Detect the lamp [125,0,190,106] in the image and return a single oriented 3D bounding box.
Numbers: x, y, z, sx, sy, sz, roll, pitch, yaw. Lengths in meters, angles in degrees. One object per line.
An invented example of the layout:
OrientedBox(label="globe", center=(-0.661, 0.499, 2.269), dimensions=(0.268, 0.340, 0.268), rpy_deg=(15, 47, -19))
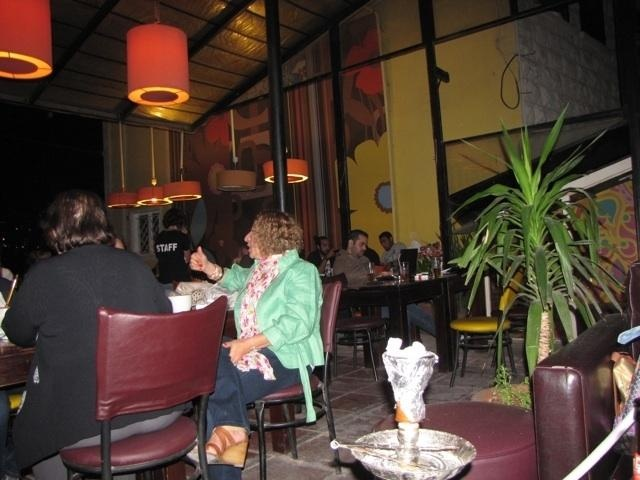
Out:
OrientedBox(label="lamp", center=(-1.297, -1.482, 4.340), dimensions=(0.469, 0.643, 0.449), rpy_deg=(-2, -1, -20))

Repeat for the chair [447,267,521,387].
OrientedBox(label="chair", center=(1.390, 0.732, 4.608), dimensions=(0.505, 0.968, 0.445), rpy_deg=(1, -1, 24))

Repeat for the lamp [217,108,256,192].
OrientedBox(label="lamp", center=(-1.411, -1.663, 9.272), dimensions=(0.667, 1.290, 2.998), rpy_deg=(-2, -1, -8))

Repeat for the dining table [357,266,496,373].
OrientedBox(label="dining table", center=(0.887, 0.599, 5.124), dimensions=(0.930, 0.648, 0.961), rpy_deg=(1, 9, 32))

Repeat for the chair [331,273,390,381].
OrientedBox(label="chair", center=(0.337, 0.853, 5.254), dimensions=(0.510, 0.887, 0.500), rpy_deg=(-1, 6, 22))

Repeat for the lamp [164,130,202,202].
OrientedBox(label="lamp", center=(-2.136, -1.134, 8.375), dimensions=(0.648, 0.996, 0.663), rpy_deg=(2, -12, -36))

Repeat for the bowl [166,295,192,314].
OrientedBox(label="bowl", center=(-0.700, 0.314, 2.737), dimensions=(0.116, 0.098, 0.108), rpy_deg=(-1, -1, 0))

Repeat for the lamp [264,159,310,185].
OrientedBox(label="lamp", center=(-0.434, -0.925, 7.350), dimensions=(0.512, 0.240, 0.515), rpy_deg=(-2, -2, 44))

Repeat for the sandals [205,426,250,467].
OrientedBox(label="sandals", center=(-0.458, 0.994, 2.701), dimensions=(0.204, 0.103, 0.282), rpy_deg=(20, 10, -19))
